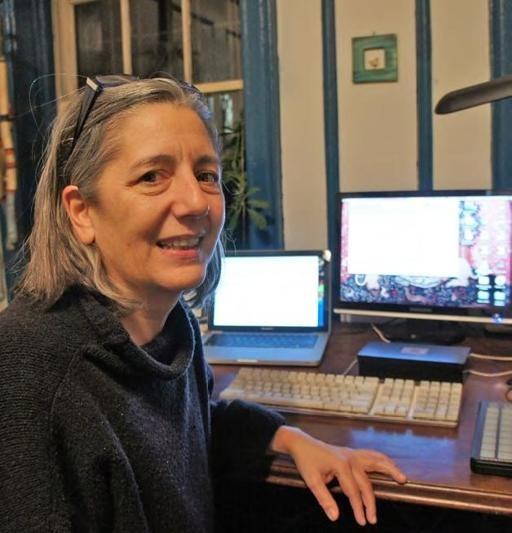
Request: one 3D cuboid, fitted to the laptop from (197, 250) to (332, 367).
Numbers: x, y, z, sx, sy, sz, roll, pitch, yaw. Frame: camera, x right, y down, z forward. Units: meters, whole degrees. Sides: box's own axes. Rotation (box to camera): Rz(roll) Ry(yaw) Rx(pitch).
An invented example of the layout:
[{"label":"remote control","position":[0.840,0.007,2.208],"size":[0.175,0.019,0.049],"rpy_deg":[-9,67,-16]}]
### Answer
[{"label":"laptop","position":[0.043,0.110,1.764],"size":[0.343,0.238,0.304],"rpy_deg":[1,13,7]}]
